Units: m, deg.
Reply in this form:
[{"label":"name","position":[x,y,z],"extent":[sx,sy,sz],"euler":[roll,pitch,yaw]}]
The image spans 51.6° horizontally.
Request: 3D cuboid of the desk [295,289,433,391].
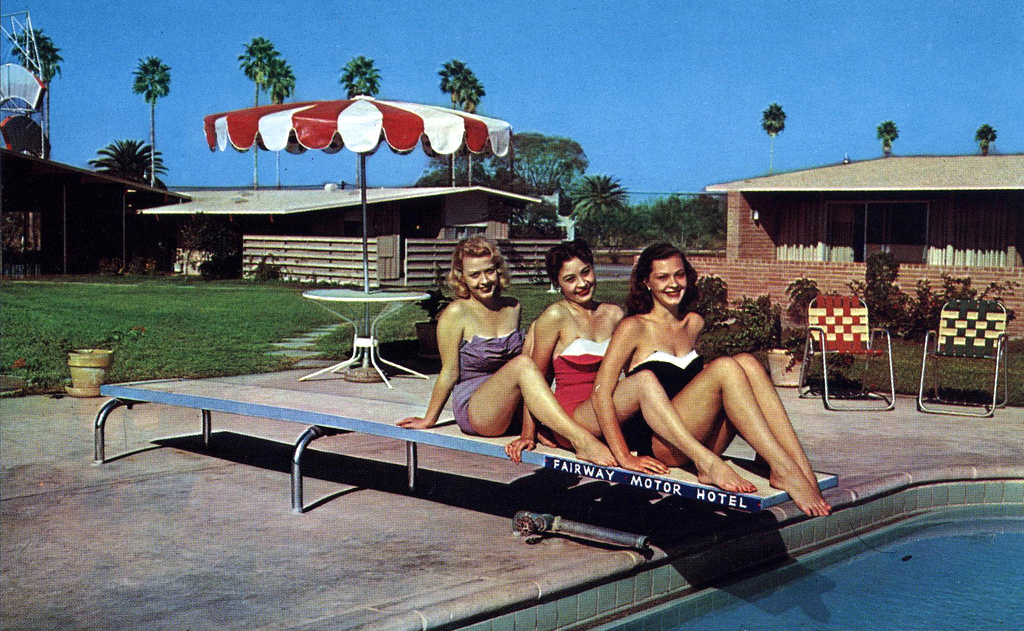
[{"label":"desk","position":[-2.045,0.274,15.143],"extent":[1.671,1.155,1.543],"euler":[-1,-3,10]}]
